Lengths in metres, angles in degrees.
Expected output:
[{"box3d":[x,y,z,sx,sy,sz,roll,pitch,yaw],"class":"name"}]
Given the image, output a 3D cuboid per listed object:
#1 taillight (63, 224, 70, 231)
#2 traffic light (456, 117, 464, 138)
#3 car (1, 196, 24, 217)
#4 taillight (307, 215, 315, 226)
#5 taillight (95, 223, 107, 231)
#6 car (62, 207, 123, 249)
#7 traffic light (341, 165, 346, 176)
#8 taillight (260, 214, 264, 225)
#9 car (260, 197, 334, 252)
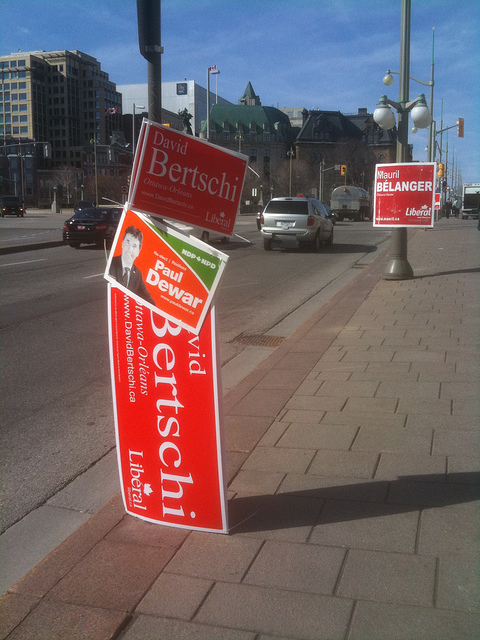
[{"box3d":[-7.135,-3.802,22.007,0.238,0.304,0.239,1,1,1],"class":"taillight"},{"box3d":[17.463,-15.085,42.324,0.256,1.456,1.567,1,6,33],"class":"traffic light"},{"box3d":[-22.524,-11.212,52.821,2.184,2.111,1.671,-5,6,-37],"class":"car"},{"box3d":[2.628,-3.632,19.661,0.260,0.293,0.513,2,18,10],"class":"taillight"},{"box3d":[-5.562,-3.734,21.453,0.470,0.310,0.147,-3,4,-13],"class":"taillight"},{"box3d":[-5.912,-3.754,21.890,2.454,1.696,1.262,1,5,28],"class":"car"},{"box3d":[11.480,-16.581,59.413,0.392,1.047,1.459,-1,6,8],"class":"traffic light"},{"box3d":[0.879,-3.836,20.591,0.202,0.487,0.249,1,1,3],"class":"taillight"},{"box3d":[2.312,-3.702,20.698,1.939,2.169,2.877,3,7,43],"class":"car"}]
